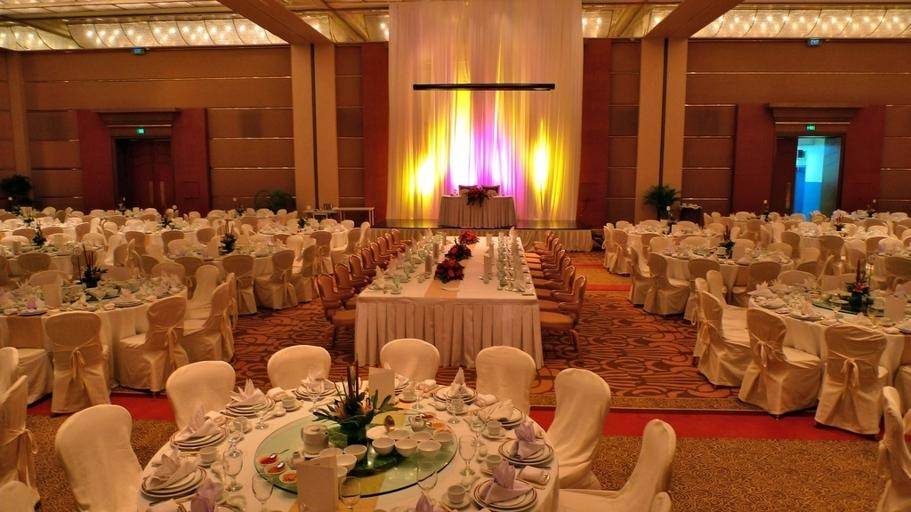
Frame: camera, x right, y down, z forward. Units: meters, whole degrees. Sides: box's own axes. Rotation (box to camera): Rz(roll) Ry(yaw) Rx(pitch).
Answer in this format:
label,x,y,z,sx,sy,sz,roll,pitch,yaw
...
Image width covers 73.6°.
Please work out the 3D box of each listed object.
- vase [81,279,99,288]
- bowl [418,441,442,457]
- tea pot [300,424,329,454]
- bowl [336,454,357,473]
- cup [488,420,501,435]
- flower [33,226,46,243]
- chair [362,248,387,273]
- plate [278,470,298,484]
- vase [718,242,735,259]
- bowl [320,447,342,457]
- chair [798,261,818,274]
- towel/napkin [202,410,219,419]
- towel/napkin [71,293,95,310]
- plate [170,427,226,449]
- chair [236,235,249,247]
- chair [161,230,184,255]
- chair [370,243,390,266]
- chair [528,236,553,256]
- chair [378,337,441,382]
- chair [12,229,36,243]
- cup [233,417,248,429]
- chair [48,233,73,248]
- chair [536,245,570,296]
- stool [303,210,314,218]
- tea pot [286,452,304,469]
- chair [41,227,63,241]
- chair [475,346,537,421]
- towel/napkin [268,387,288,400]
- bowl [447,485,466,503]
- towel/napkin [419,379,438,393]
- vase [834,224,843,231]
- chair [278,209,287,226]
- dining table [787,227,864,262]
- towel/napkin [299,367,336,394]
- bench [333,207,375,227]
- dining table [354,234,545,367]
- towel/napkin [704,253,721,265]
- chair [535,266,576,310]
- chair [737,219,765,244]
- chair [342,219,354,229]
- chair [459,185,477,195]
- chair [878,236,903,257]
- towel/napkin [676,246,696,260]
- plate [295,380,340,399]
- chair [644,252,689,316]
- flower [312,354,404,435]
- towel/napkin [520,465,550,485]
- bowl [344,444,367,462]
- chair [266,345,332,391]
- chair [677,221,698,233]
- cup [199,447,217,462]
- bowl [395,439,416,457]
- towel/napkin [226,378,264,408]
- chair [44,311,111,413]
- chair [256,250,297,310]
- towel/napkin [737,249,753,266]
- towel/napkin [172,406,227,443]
label,x,y,z,sx,sy,sz,roll,pitch,yaw
vase,-5.979,0.456,9.900,0.180,0.116,0.170,2,0,-16
bowl,-0.307,2.186,6.879,0.182,0.093,0.184,3,3,0
tea pot,-1.579,2.093,6.913,0.329,0.224,0.265,-2,1,38
bowl,-1.202,2.312,6.698,0.217,0.184,0.185,-2,7,-12
cup,0.441,2.031,7.116,0.154,0.093,0.146,-1,3,0
flower,-8.776,-0.423,12.781,0.204,0.361,0.531,-5,8,-33
chair,-1.759,0.124,12.676,0.593,0.637,0.488,1,10,6
plate,-1.852,2.432,6.666,0.176,0.104,0.145,-1,7,-10
vase,5.312,-0.101,12.075,0.360,0.312,0.344,-3,3,-31
bowl,-1.371,2.176,6.686,0.159,0.061,0.149,1,11,0
chair,6.696,0.211,11.590,0.321,0.220,0.275,0,2,-8
towel/napkin,-2.929,1.918,7.258,0.174,0.047,0.130,2,1,1
towel/napkin,-5.805,0.720,9.460,0.229,0.131,0.396,-1,6,-41
plate,-2.991,2.141,7.042,0.329,0.050,0.309,3,6,1
chair,-4.536,-0.304,12.912,0.290,0.135,0.272,0,2,-17
chair,-6.100,-0.275,13.054,0.506,0.633,0.494,-4,17,-36
chair,-1.673,-0.018,13.212,0.461,0.591,0.438,1,14,8
chair,2.180,-0.228,15.456,0.633,0.699,0.539,1,6,-2
chair,-0.631,1.406,8.184,0.692,0.685,0.602,0,2,-1
chair,-9.785,-0.438,13.761,0.336,0.397,0.351,-9,20,-42
cup,-2.508,1.974,7.078,0.144,0.107,0.157,-1,-1,0
chair,-8.514,-0.305,13.117,0.500,0.272,0.482,2,0,18
chair,1.971,0.302,11.907,0.879,1.020,0.762,0,14,6
stool,-4.595,-1.315,18.950,0.276,0.231,0.892,-2,6,-15
tea pot,-1.765,2.261,6.647,0.227,0.252,0.141,1,3,-10
chair,-9.121,-0.487,13.706,0.346,0.420,0.361,4,13,-10
chair,0.721,1.646,8.172,0.917,1.159,0.901,1,6,11
towel/napkin,-2.235,1.719,7.533,0.141,0.052,0.183,-2,2,-40
bowl,0.009,2.583,6.585,0.185,0.106,0.177,0,-2,0
towel/napkin,-0.352,1.651,7.653,0.150,0.060,0.193,1,2,11
vase,9.115,-0.666,14.450,0.173,0.115,0.165,1,3,17
chair,-4.965,-1.109,17.287,0.232,0.384,0.934,-2,7,-17
dining table,8.317,-0.251,13.620,1.300,0.414,1.215,-2,5,-8
towel/napkin,-1.762,1.609,7.738,0.293,0.242,0.359,1,-3,-7
bench,-3.123,-1.196,18.614,1.061,0.869,0.428,-1,3,-3
dining table,-0.123,0.819,10.390,2.221,0.807,3.636,0,6,6
towel/napkin,5.043,0.063,11.963,0.295,0.242,0.278,-2,1,1
chair,1.825,0.632,10.934,0.829,0.965,0.733,2,12,9
chair,7.594,-0.628,15.615,0.588,0.716,0.699,3,9,7
chair,-2.893,-0.842,16.301,0.319,0.318,0.294,0,7,-9
chair,0.347,-1.958,18.025,0.489,0.242,0.903,-1,6,-5
chair,9.048,-0.172,12.590,0.514,0.280,0.440,-6,2,-21
towel/napkin,4.632,-0.036,12.282,0.299,0.124,0.284,-2,8,13
plate,-1.755,1.686,7.566,0.326,0.061,0.308,2,8,8
chair,4.199,0.585,12.027,0.944,1.181,0.903,-17,23,-32
flower,-1.172,1.715,7.341,0.899,0.706,0.864,1,-6,4
towel/napkin,0.864,2.440,6.723,0.235,0.051,0.210,4,13,22
bowl,-1.126,2.202,6.801,0.207,0.106,0.195,1,3,0
chair,-2.081,1.414,8.216,0.718,0.798,0.622,-2,3,-16
chair,5.627,-0.677,14.811,0.428,0.227,0.414,7,15,33
cup,-2.776,2.252,6.837,0.147,0.105,0.176,-2,-6,23
bowl,-0.559,2.178,6.879,0.197,0.111,0.187,1,0,0
towel/napkin,-2.575,1.716,7.571,0.356,0.162,0.434,0,0,-9
chair,-5.565,1.585,8.924,0.760,1.529,0.366,-4,9,-28
chair,-3.690,0.495,12.394,0.802,1.245,0.446,-2,8,-16
towel/napkin,5.630,0.045,11.877,0.313,0.131,0.371,-1,23,12
towel/napkin,-2.961,2.055,7.134,0.503,0.174,0.462,0,4,-6
